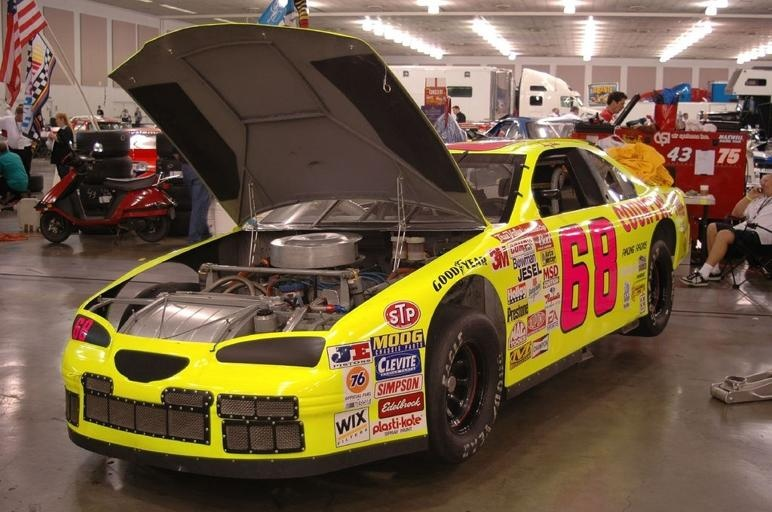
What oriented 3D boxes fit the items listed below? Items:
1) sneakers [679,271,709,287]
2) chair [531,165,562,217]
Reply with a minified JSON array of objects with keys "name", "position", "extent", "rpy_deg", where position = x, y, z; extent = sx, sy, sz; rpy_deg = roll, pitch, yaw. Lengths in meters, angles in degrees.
[{"name":"sneakers","position":[4.455,0.331,8.632],"extent":[0.490,0.223,0.179],"rpy_deg":[4,10,13]},{"name":"chair","position":[1.381,-0.534,4.922],"extent":[0.178,0.437,0.340],"rpy_deg":[7,12,-12]}]
